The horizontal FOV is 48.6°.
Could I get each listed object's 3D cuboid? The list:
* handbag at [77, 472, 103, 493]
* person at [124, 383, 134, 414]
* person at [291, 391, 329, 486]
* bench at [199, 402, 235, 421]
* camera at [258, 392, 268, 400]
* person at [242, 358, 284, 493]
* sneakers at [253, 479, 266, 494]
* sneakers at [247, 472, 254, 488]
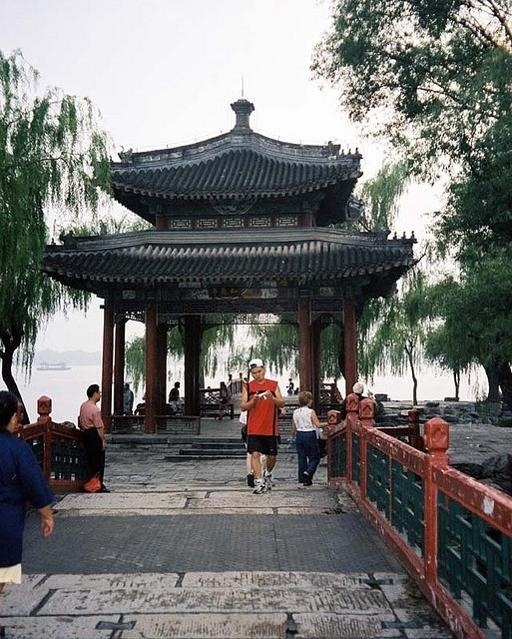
[{"bbox_3d":[-2.131,2.143,7.417,0.272,0.195,0.306,0,-5,-30],"label":"handbag"},{"bbox_3d":[-3.826,2.416,17.091,0.241,0.930,2.651,-1,-5,-14],"label":"person"},{"bbox_3d":[0.636,1.539,7.427,0.388,1.254,0.396,7,15,33],"label":"person"},{"bbox_3d":[-1.330,3.133,19.165,1.131,0.477,1.112,-2,-4,-2],"label":"bench"},{"bbox_3d":[0.072,0.865,6.322,0.093,0.090,0.131,-2,-4,-2],"label":"camera"},{"bbox_3d":[0.073,1.237,6.472,0.477,1.532,0.947,-2,-4,0],"label":"person"},{"bbox_3d":[0.055,1.901,6.446,0.072,0.195,0.224,-10,-16,30],"label":"sneakers"},{"bbox_3d":[-0.064,1.918,6.769,0.063,0.231,0.082,-1,3,12],"label":"sneakers"}]
